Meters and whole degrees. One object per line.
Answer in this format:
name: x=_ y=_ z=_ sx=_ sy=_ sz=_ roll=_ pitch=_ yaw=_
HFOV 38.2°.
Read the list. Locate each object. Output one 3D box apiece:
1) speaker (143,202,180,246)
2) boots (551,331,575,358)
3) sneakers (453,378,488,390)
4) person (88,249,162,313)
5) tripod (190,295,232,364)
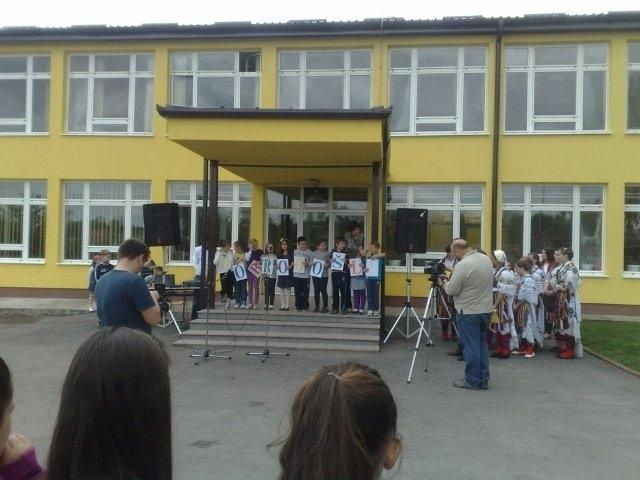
speaker: x=-3.954 y=-0.405 z=23.199 sx=0.987 sy=1.227 sz=0.411 roll=0 pitch=4 yaw=3
boots: x=5.677 y=2.435 z=21.477 sx=0.526 sy=0.671 sz=0.336 roll=0 pitch=1 yaw=31
sneakers: x=3.097 y=2.884 z=18.995 sx=0.609 sy=0.284 sz=0.259 roll=3 pitch=0 yaw=23
person: x=-3.316 y=0.784 z=16.032 sx=1.081 sy=1.619 sz=0.517 roll=0 pitch=0 yaw=-15
tripod: x=-2.607 y=2.173 z=21.119 sx=0.988 sy=1.445 sz=1.055 roll=-2 pitch=-1 yaw=27
